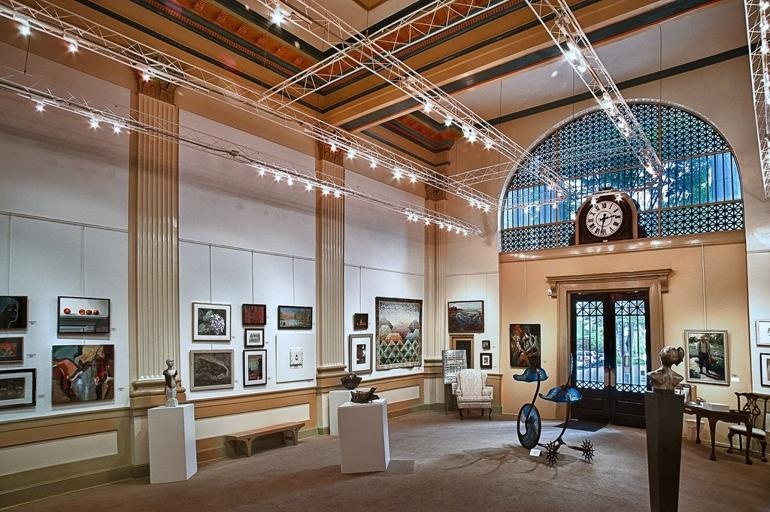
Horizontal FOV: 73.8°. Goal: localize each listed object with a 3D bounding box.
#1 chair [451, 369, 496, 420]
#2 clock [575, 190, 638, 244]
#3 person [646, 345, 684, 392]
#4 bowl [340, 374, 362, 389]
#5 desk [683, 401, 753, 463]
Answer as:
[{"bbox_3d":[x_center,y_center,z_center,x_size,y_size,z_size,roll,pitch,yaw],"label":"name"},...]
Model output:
[{"bbox_3d":[2.366,4.070,15.130,1.295,1.571,1.250,0,-25,3],"label":"chair"},{"bbox_3d":[6.133,-1.063,14.081,1.389,1.374,0.196,-5,-10,42],"label":"clock"},{"bbox_3d":[4.383,1.733,8.003,0.433,0.705,0.750,2,3,36],"label":"person"},{"bbox_3d":[-0.870,2.942,12.081,0.428,0.314,0.418,-3,-9,0],"label":"bowl"},{"bbox_3d":[7.475,4.040,11.409,0.933,1.158,1.593,-2,-5,37],"label":"desk"}]
